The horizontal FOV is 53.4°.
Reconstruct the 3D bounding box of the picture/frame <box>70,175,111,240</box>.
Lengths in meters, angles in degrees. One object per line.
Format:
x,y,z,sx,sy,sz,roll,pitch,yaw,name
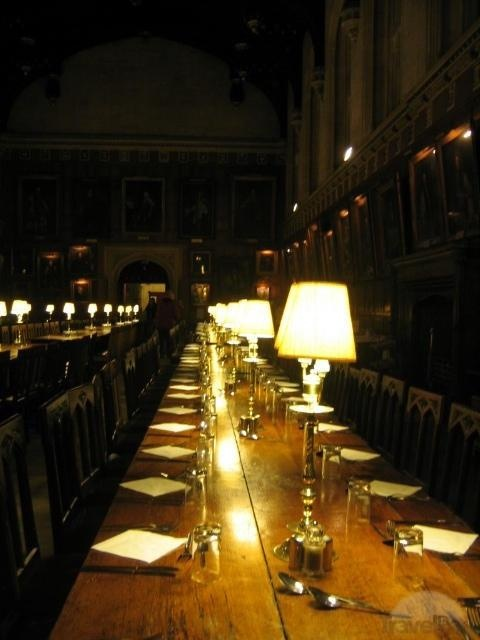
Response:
-5.665,-4.226,18.198,1.452,2.182,0.231,0,2,3,picture/frame

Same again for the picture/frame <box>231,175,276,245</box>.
0.497,-4.384,18.377,1.476,3.370,0.347,1,0,1,picture/frame
